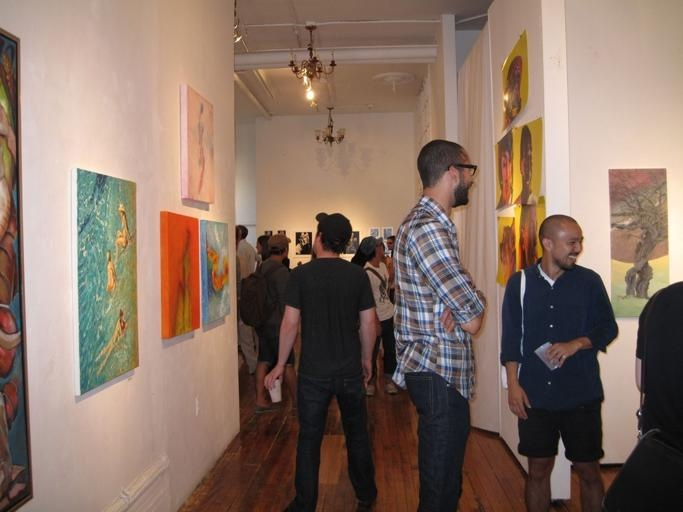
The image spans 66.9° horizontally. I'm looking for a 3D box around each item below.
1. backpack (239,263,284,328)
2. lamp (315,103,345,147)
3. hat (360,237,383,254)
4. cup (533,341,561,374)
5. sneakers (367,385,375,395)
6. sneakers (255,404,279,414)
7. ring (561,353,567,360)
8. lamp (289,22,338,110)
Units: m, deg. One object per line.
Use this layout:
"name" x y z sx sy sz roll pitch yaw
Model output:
"backpack" -0.945 0.469 5.871 0.437 0.781 0.417 0 -10 29
"lamp" -0.281 -3.098 12.498 0.769 1.468 0.874 2 2 1
"hat" 0.393 -0.173 6.782 0.178 0.267 0.136 36 -5 43
"cup" 1.355 0.659 3.394 0.160 0.180 0.110 0 0 38
"sneakers" 0.386 1.745 6.815 0.103 0.143 0.329 -2 -11 4
"sneakers" -0.881 1.781 6.116 0.270 0.108 0.103 -1 -1 -15
"ring" 1.438 0.645 3.321 0.034 0.032 0.039 1 3 14
"lamp" -0.424 -3.164 8.758 0.823 1.613 0.830 2 3 36
